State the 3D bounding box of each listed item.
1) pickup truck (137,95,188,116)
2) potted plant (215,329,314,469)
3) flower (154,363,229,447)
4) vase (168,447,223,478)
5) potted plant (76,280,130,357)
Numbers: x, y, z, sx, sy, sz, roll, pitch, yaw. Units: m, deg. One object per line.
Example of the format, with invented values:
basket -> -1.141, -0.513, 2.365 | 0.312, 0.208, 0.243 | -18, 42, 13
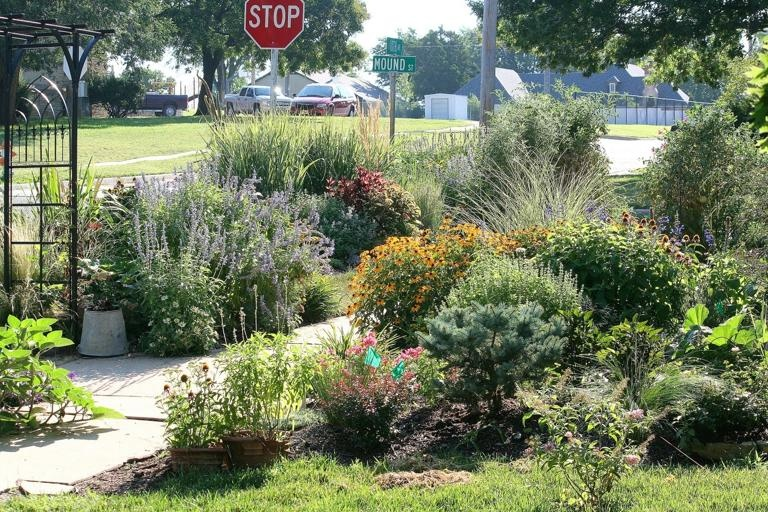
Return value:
pickup truck -> -10.385, -7.045, 48.260 | 1.948, 0.871, 1.078 | 1, 3, -20
potted plant -> -1.225, 1.471, 10.667 | 0.945, 1.302, 0.580 | -2, 5, -32
flower -> -2.011, 1.609, 10.599 | 0.512, 0.875, 0.538 | -1, 5, 40
vase -> -1.880, 2.062, 10.400 | 0.328, 0.157, 0.308 | 0, 5, -4
potted plant -> -3.368, 0.777, 12.915 | 0.652, 1.161, 0.741 | 1, -1, 9
